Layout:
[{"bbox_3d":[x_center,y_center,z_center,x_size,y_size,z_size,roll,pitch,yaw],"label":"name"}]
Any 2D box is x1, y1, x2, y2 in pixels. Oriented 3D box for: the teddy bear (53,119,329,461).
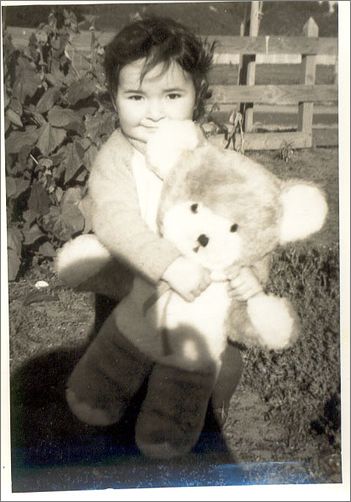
[{"bbox_3d":[0.026,0.124,2.174,1.014,0.383,1.369,21,70,11],"label":"teddy bear"}]
